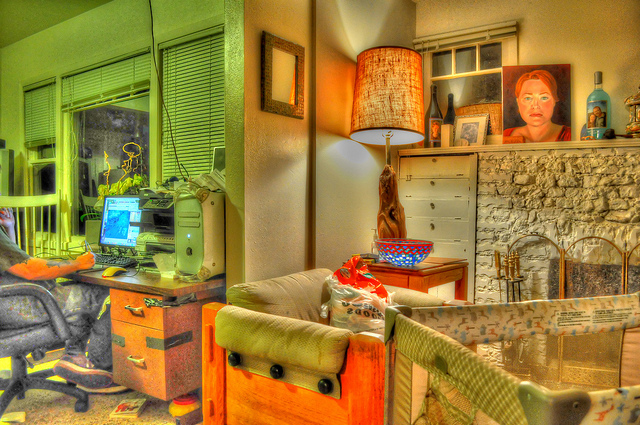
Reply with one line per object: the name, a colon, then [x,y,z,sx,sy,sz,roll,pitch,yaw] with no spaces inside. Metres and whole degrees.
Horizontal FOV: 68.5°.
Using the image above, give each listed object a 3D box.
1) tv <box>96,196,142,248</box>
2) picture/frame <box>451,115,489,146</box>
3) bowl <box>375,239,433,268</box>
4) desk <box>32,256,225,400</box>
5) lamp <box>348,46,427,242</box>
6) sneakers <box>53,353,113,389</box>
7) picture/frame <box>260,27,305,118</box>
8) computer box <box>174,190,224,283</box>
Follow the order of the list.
tv: [-1.648,0.077,3.919,0.466,0.572,0.062,3,2,24]
picture/frame: [1.434,-0.776,4.450,0.368,0.386,0.023,1,-13,27]
bowl: [0.666,0.316,3.616,0.440,0.181,0.426,3,-6,0]
desk: [-1.250,0.676,3.137,1.004,0.693,0.792,2,1,34]
lamp: [0.524,-0.554,3.845,0.512,1.504,0.537,0,-1,-45]
sneakers: [-1.716,1.159,3.451,0.421,0.146,0.183,23,23,-7]
picture/frame: [-0.255,-0.973,3.361,0.047,0.542,0.403,-1,-1,39]
computer box: [-0.803,0.147,3.318,0.426,0.528,0.403,0,0,5]
